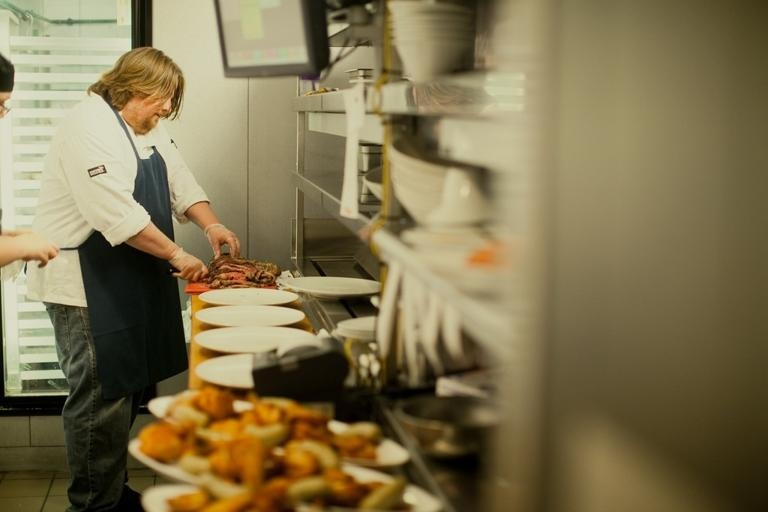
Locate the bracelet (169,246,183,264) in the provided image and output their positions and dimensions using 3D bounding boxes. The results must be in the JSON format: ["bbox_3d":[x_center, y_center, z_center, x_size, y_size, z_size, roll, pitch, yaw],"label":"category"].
[{"bbox_3d":[-0.959,-0.005,2.780,0.037,0.070,0.055,28,-7,20],"label":"bracelet"}]

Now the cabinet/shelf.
[{"bbox_3d":[0.086,0.035,0.993,0.190,0.647,0.416,-3,14,-5],"label":"cabinet/shelf"}]

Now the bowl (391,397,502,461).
[{"bbox_3d":[0.119,0.273,1.055,0.139,0.058,0.163,-2,3,-11],"label":"bowl"}]
